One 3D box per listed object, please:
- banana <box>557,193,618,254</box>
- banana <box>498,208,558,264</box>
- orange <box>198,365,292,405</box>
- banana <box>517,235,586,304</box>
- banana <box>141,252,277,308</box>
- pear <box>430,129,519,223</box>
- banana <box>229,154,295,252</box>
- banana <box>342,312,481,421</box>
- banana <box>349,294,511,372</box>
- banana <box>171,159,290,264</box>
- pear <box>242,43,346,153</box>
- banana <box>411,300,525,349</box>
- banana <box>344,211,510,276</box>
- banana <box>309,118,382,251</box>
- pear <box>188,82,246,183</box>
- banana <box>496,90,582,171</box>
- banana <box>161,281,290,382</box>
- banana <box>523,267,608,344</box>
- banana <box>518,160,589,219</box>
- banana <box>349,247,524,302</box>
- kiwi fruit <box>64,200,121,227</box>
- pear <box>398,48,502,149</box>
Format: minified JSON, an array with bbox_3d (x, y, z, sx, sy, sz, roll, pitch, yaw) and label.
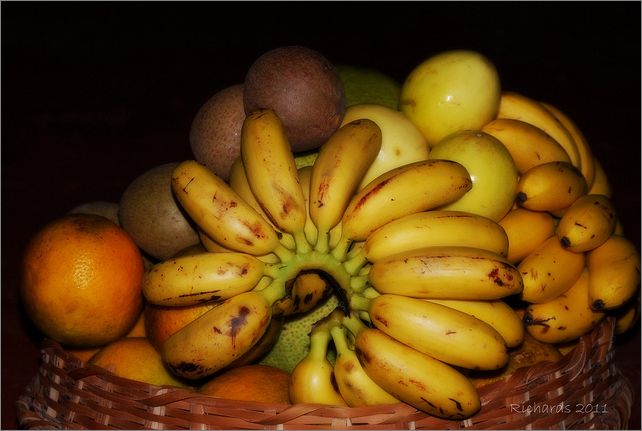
[{"bbox_3d":[0.683,0.022,1.659,0.169,0.104,0.100,-42,95,-26],"label":"banana"},{"bbox_3d":[0.551,0.074,1.720,0.170,0.099,0.098,-10,3,26],"label":"banana"},{"bbox_3d":[-0.174,0.436,1.624,0.164,0.112,0.094,4,61,-7],"label":"orange"},{"bbox_3d":[0.595,0.146,1.691,0.219,0.114,0.119,-34,87,-20],"label":"banana"},{"bbox_3d":[-0.286,0.154,1.579,0.270,0.099,0.120,-7,16,11],"label":"banana"},{"bbox_3d":[0.387,-0.087,1.763,0.221,0.229,0.263,-2,72,3],"label":"pear"},{"bbox_3d":[-0.111,-0.051,1.653,0.264,0.086,0.139,50,4,7],"label":"banana"},{"bbox_3d":[0.211,0.406,1.574,0.135,0.135,0.402,2,7,-44],"label":"banana"},{"bbox_3d":[0.267,0.275,1.566,0.364,0.131,0.122,19,70,4],"label":"banana"},{"bbox_3d":[-0.243,-0.008,1.566,0.304,0.161,0.092,23,39,21],"label":"banana"},{"bbox_3d":[-0.069,-0.300,1.817,0.269,0.274,0.299,-3,76,-3],"label":"pear"},{"bbox_3d":[0.367,0.256,1.552,0.229,0.076,0.111,19,7,-8],"label":"banana"},{"bbox_3d":[0.263,0.061,1.625,0.459,0.116,0.136,-10,27,39],"label":"banana"},{"bbox_3d":[0.052,-0.101,1.650,0.123,0.374,0.131,22,-8,-4],"label":"banana"},{"bbox_3d":[-0.265,-0.218,1.842,0.139,0.247,0.194,22,-9,-19],"label":"pear"},{"bbox_3d":[0.614,-0.256,1.862,0.273,0.078,0.150,42,45,-9],"label":"banana"},{"bbox_3d":[-0.233,0.296,1.591,0.287,0.128,0.142,-34,72,-4],"label":"banana"},{"bbox_3d":[0.719,0.212,1.780,0.144,0.193,0.402,7,0,-1],"label":"banana"},{"bbox_3d":[0.605,-0.086,1.697,0.231,0.132,0.112,-31,17,-38],"label":"banana"},{"bbox_3d":[0.304,0.143,1.557,0.383,0.139,0.127,4,17,11],"label":"banana"},{"bbox_3d":[-0.675,-0.019,1.900,0.115,0.065,0.094,-2,5,4],"label":"kiwi fruit"},{"bbox_3d":[0.386,-0.345,1.879,0.246,0.254,0.323,3,11,39],"label":"pear"}]
